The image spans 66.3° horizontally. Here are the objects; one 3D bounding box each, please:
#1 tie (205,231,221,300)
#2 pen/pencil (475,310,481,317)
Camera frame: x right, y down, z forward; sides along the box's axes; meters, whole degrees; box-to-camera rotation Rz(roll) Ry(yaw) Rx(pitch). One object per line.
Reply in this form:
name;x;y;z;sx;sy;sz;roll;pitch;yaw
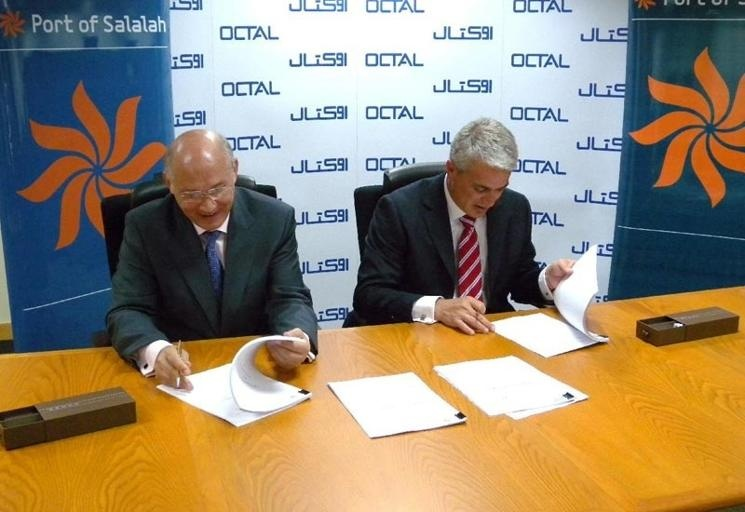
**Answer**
tie;-0.689;0.029;2.477;0.066;0.250;0.059;-3;8;-12
pen/pencil;0.456;0.249;2.461;0.018;0.016;0.018;-7;18;-1
